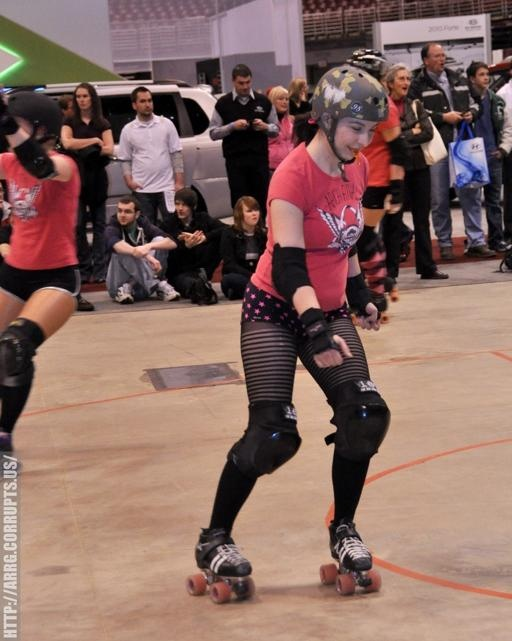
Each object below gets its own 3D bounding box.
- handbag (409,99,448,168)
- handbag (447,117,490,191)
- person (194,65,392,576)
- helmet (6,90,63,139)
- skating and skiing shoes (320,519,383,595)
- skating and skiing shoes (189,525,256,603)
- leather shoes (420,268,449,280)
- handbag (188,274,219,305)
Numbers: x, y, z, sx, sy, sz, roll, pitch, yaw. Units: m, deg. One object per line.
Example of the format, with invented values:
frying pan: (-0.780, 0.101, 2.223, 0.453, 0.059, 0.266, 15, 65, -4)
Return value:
handbag: (2.186, -2.238, 7.463, 0.419, 0.857, 0.387, -25, 28, -34)
handbag: (2.950, -2.297, 8.495, 0.497, 0.894, 0.612, -4, 4, 18)
person: (0.151, -0.006, 1.771, 0.763, 1.341, 0.741, 2, 24, -5)
helmet: (-0.991, -0.927, 2.721, 0.214, 0.210, 0.119, -7, 4, -18)
skating and skiing shoes: (0.261, 0.652, 1.715, 0.115, 0.126, 0.234, -1, -6, -16)
skating and skiing shoes: (-0.095, 0.690, 1.702, 0.125, 0.127, 0.213, -4, 6, -27)
leather shoes: (2.351, -0.604, 7.933, 0.381, 0.132, 0.132, -2, 3, 22)
handbag: (-0.643, -0.351, 7.425, 0.300, 0.392, 0.173, -3, 30, 9)
